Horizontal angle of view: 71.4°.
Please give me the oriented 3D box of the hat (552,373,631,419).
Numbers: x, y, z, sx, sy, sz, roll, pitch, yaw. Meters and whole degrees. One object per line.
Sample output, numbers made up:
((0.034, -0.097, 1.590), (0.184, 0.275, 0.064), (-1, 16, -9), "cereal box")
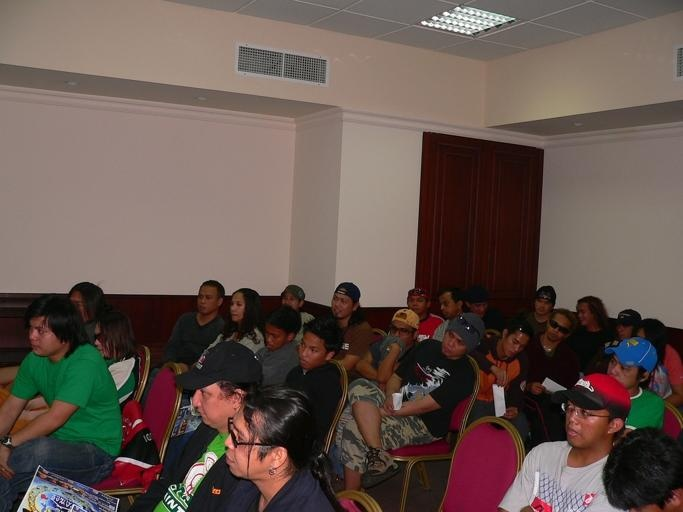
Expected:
((1.089, 0.612, 2.067), (0.249, 0.149, 0.188), (21, -3, 3), "hat")

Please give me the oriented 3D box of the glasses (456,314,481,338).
((0.935, 0.520, 3.467), (0.166, 0.189, 0.057), (23, 32, 35), "glasses")

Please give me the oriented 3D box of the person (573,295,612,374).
((2.314, 0.746, 4.401), (0.250, 0.830, 0.360), (26, -23, -17), "person")

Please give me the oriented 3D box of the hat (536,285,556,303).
((2.250, 0.430, 5.223), (0.189, 0.181, 0.198), (22, 3, 18), "hat")

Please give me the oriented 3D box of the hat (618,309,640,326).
((2.568, 0.548, 4.243), (0.169, 0.104, 0.129), (-6, 2, -7), "hat")

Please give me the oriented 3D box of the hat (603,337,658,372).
((1.570, 0.523, 2.611), (0.228, 0.129, 0.172), (24, 4, -8), "hat")

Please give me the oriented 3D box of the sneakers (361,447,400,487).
((0.261, 1.321, 3.039), (0.294, 0.212, 0.137), (-7, -19, -46), "sneakers")

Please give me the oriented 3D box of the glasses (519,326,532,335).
((1.460, 0.595, 3.746), (0.068, 0.076, 0.024), (6, 0, 3), "glasses")

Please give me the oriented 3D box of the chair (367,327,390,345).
((0.337, 0.749, 4.480), (0.153, 0.203, 0.140), (1, 4, -28), "chair")

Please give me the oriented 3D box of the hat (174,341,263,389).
((-0.505, 0.456, 1.943), (0.270, 0.157, 0.189), (5, -1, -11), "hat")
